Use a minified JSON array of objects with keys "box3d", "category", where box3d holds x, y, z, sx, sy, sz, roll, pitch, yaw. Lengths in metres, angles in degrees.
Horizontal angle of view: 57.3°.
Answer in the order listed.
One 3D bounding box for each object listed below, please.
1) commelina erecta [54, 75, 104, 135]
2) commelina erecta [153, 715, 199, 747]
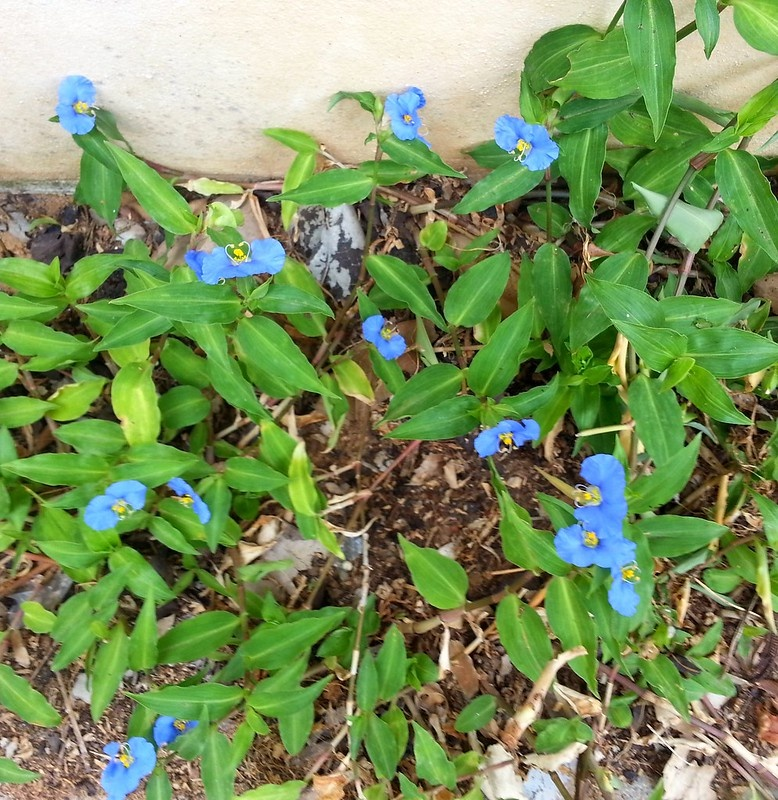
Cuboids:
[{"box3d":[-0.821,-0.775,1.870,0.167,0.059,0.141,-3,101,-34],"category":"commelina erecta"},{"box3d":[-0.526,0.811,1.739,0.116,0.073,0.074,6,73,2],"category":"commelina erecta"}]
